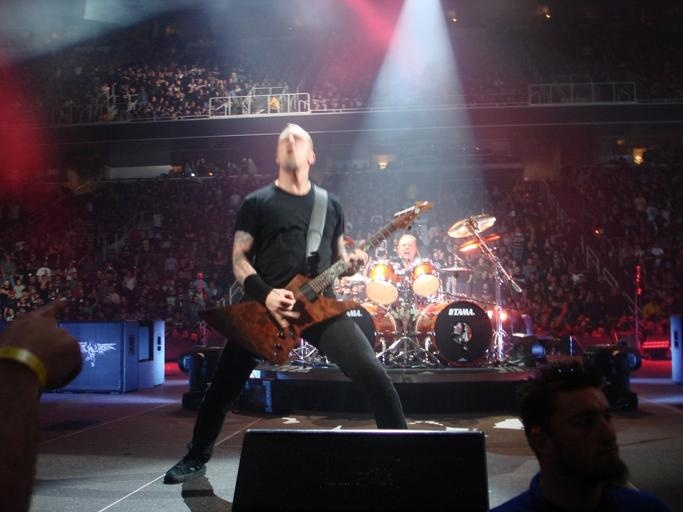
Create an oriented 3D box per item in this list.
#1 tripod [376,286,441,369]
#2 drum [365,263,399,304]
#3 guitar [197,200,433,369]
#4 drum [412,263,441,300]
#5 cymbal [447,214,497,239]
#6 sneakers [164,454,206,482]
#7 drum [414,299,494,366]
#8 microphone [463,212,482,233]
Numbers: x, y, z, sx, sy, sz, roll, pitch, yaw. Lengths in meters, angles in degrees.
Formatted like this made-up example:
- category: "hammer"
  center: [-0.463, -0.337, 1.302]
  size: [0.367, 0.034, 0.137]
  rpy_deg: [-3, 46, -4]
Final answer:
- category: "tripod"
  center: [0.764, 0.837, 7.216]
  size: [0.623, 0.658, 0.662]
  rpy_deg: [-1, -30, 4]
- category: "drum"
  center: [0.453, 0.399, 7.708]
  size: [0.453, 0.457, 0.446]
  rpy_deg: [3, -34, -3]
- category: "guitar"
  center: [-0.182, 0.105, 4.072]
  size: [0.839, 0.161, 1.734]
  rpy_deg: [26, -50, -30]
- category: "drum"
  center: [1.076, 0.324, 7.691]
  size: [0.374, 0.360, 0.375]
  rpy_deg: [-4, -45, 15]
- category: "cymbal"
  center: [2.141, -0.472, 10.299]
  size: [0.631, 0.214, 0.641]
  rpy_deg: [-35, -33, 28]
- category: "sneakers"
  center: [-1.121, 1.589, 4.701]
  size: [0.148, 0.148, 0.350]
  rpy_deg: [18, 0, 33]
- category: "drum"
  center: [1.304, 0.864, 7.129]
  size: [0.793, 0.737, 0.657]
  rpy_deg: [-1, -8, 6]
- category: "microphone"
  center: [1.732, -0.422, 8.195]
  size: [0.262, 0.109, 0.190]
  rpy_deg: [-11, 1, -44]
